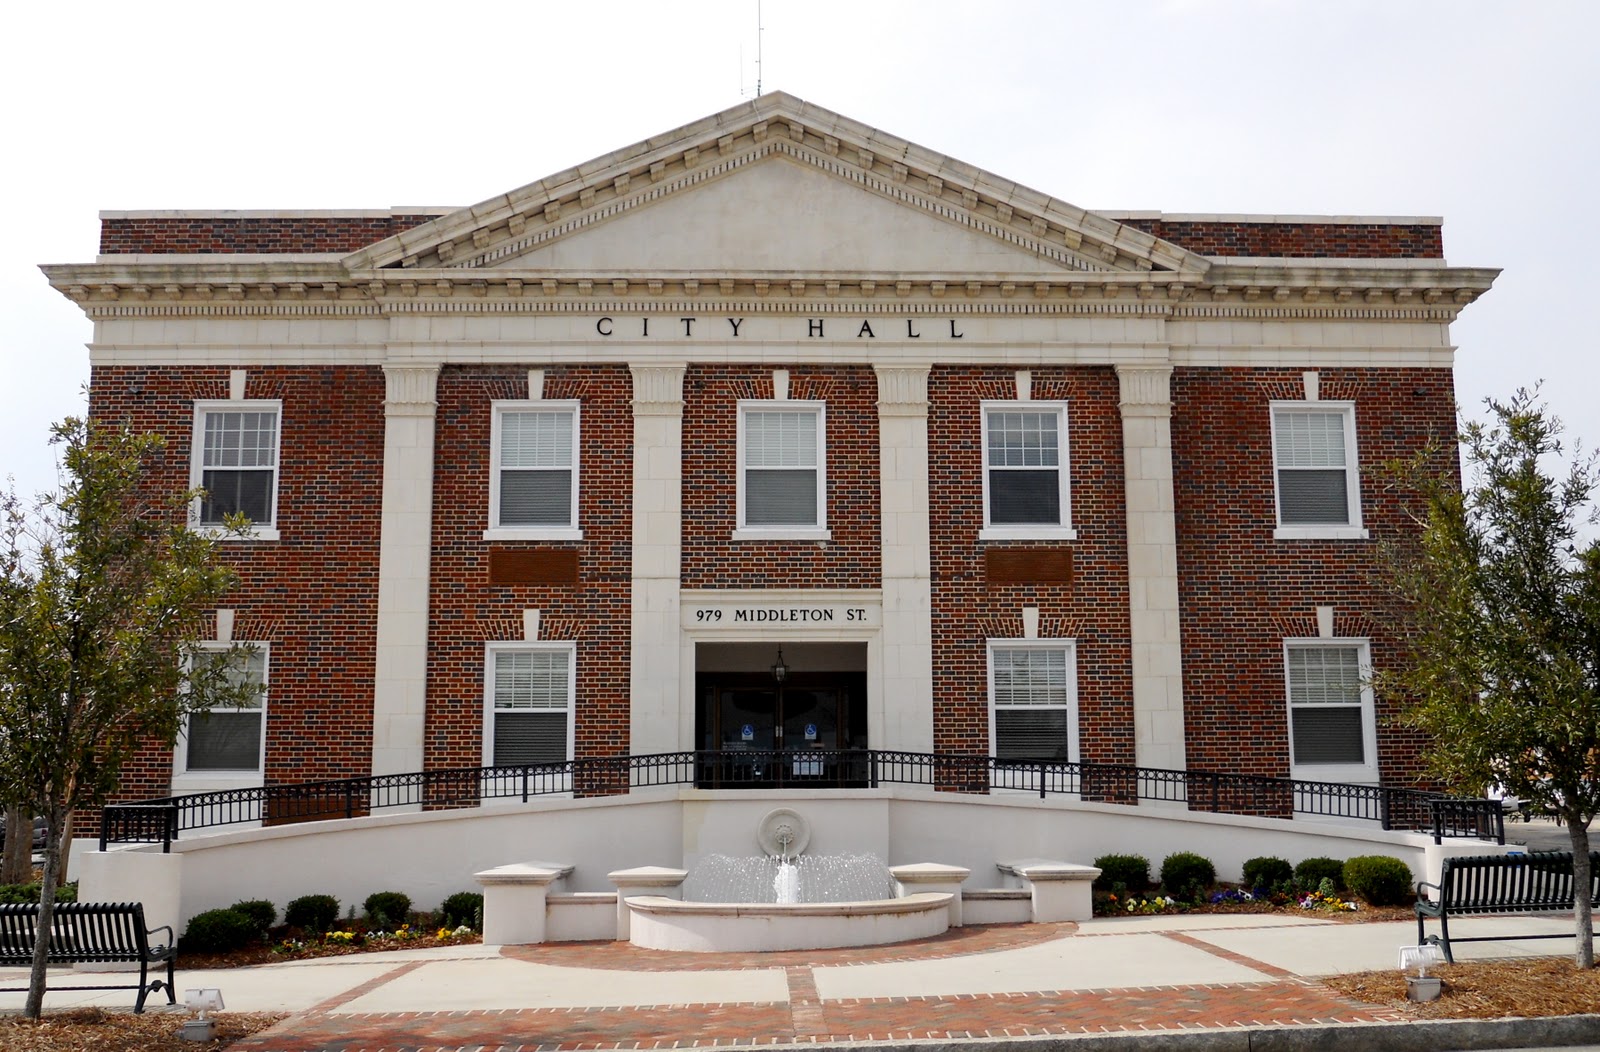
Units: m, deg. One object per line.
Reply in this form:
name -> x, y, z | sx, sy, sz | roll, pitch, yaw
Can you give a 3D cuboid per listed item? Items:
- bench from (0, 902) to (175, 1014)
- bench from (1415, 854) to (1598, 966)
bench -> -10.753, 6.477, 26.671 | 2.436, 1.556, 3.397 | 3, -12, -20
bench -> 10.630, 5.765, 26.484 | 1.853, 0.946, 0.684 | 0, -5, -3
